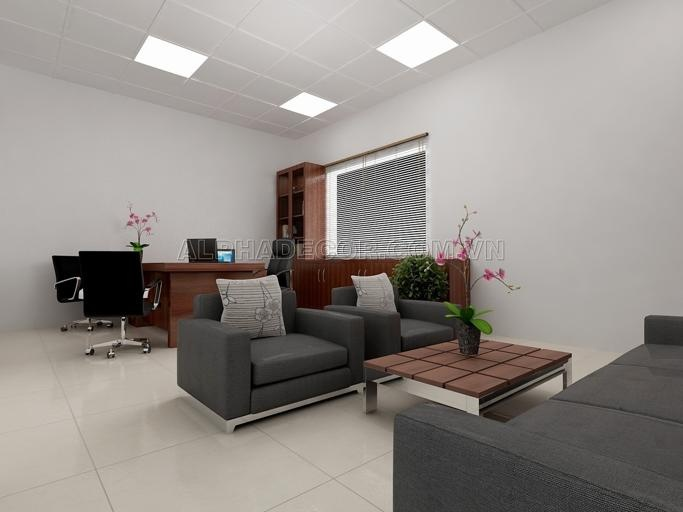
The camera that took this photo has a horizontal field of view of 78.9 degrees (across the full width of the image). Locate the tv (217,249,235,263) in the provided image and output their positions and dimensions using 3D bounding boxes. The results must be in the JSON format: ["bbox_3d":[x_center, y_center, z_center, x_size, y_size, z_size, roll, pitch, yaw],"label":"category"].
[{"bbox_3d":[-1.685,0.005,6.040,0.261,0.174,0.169,-4,7,-29],"label":"tv"}]

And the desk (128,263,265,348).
[{"bbox_3d":[-1.991,0.318,5.899,1.538,0.878,1.543,6,14,-28],"label":"desk"}]

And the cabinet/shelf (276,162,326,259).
[{"bbox_3d":[-0.790,-0.879,8.045,1.164,1.788,0.521,4,8,34],"label":"cabinet/shelf"}]

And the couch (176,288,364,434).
[{"bbox_3d":[-0.672,0.572,3.449,1.338,0.897,0.969,2,-5,-38],"label":"couch"}]

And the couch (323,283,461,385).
[{"bbox_3d":[0.428,0.730,4.124,0.865,0.653,0.795,2,-5,-41],"label":"couch"}]

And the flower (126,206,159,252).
[{"bbox_3d":[-3.245,-0.457,6.765,0.264,0.710,0.465,1,7,14],"label":"flower"}]

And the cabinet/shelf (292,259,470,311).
[{"bbox_3d":[0.177,0.483,7.399,2.370,0.812,0.425,1,1,-23],"label":"cabinet/shelf"}]

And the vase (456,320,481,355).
[{"bbox_3d":[0.984,0.657,3.254,0.198,0.222,0.198,-11,-16,24],"label":"vase"}]
